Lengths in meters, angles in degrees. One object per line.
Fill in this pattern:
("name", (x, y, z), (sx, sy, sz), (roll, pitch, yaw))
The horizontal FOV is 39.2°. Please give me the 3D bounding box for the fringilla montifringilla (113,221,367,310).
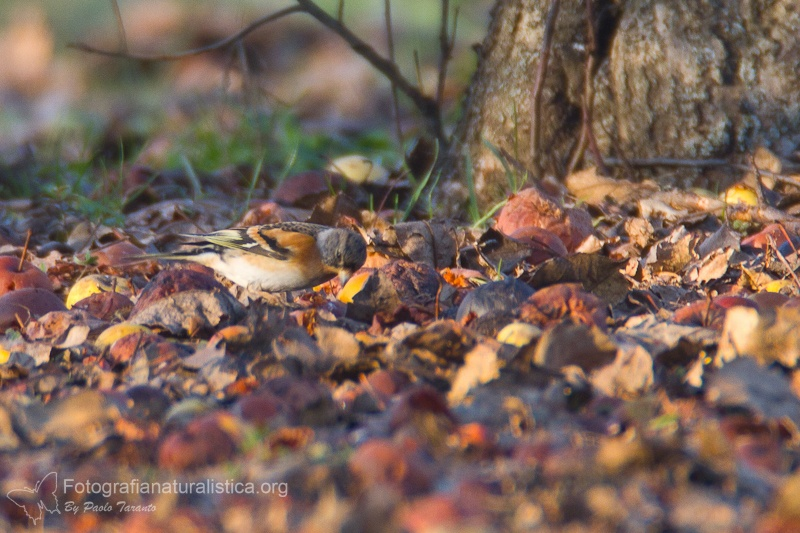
("fringilla montifringilla", (-0.583, -0.045, 4.810), (0.875, 0.302, 0.415), (3, 42, 0))
